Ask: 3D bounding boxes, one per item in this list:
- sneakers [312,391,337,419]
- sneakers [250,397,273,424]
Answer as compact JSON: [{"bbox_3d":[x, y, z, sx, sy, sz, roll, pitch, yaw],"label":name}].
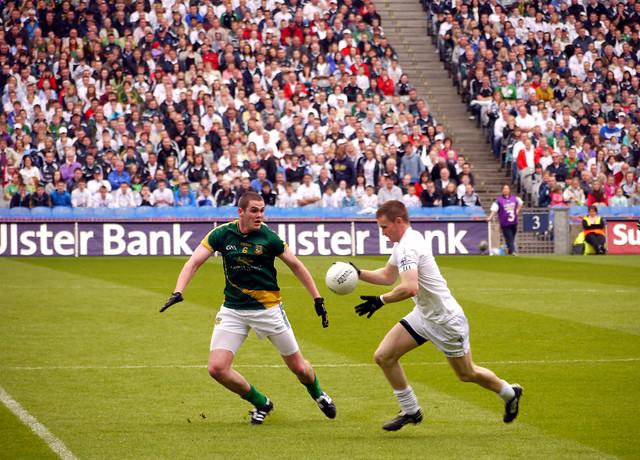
[{"bbox_3d":[0.118,3.395,24.488,0.245,0.681,0.298,-44,19,-7],"label":"sneakers"},{"bbox_3d":[-1.112,3.563,24.454,0.247,0.686,0.303,33,8,29],"label":"sneakers"}]
